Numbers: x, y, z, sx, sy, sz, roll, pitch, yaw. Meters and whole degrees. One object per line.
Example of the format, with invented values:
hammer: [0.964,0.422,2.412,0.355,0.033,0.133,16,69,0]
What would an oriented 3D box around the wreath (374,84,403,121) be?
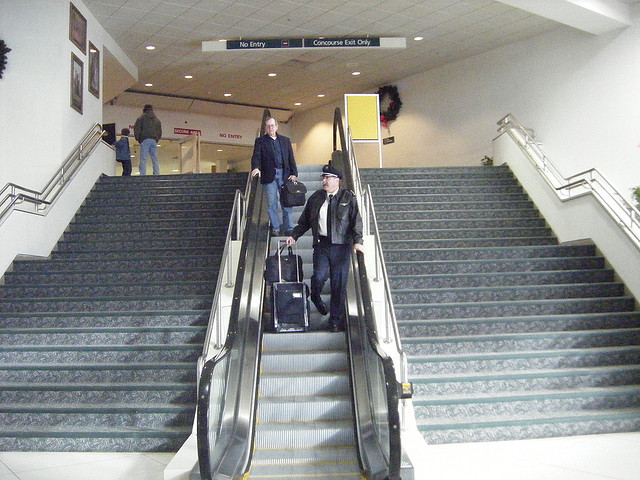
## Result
wreath: [2.238,-4.487,15.006,0.419,1.122,0.881,-4,17,-33]

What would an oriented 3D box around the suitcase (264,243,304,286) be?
suitcase: [-0.436,0.241,5.166,0.454,0.404,0.212,3,7,-40]

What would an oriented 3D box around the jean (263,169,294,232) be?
jean: [-0.560,-0.608,6.642,0.535,1.142,0.265,-1,-26,-11]

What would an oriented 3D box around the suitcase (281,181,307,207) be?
suitcase: [-0.357,-0.582,6.118,0.410,0.416,0.297,1,-11,-16]

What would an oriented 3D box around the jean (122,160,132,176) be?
jean: [-4.635,-1.753,11.159,0.178,0.334,0.589,-2,15,-27]

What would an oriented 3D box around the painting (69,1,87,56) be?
painting: [-4.759,-4.172,9.127,0.171,0.833,1.000,1,15,-19]

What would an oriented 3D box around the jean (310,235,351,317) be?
jean: [0.099,0.388,5.102,0.430,0.888,0.298,7,14,5]
